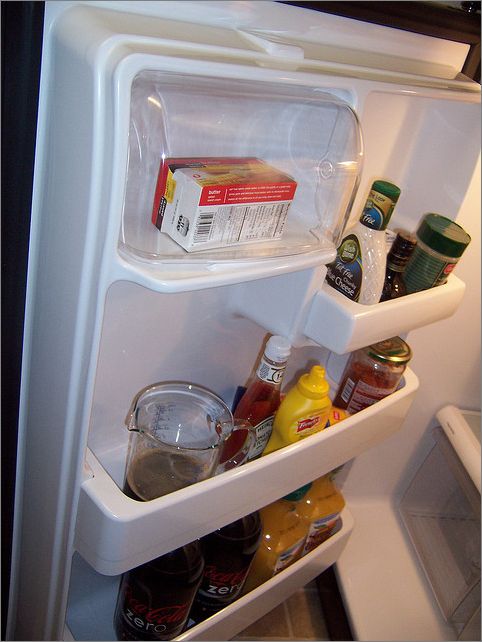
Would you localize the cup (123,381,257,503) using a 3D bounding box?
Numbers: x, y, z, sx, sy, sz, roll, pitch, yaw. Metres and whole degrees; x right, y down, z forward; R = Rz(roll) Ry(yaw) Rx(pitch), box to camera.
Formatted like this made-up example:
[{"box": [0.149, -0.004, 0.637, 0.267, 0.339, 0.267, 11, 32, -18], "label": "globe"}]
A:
[{"box": [-0.084, 0.182, 0.680, 0.172, 0.130, 0.140, 14, 35, -20], "label": "cup"}]

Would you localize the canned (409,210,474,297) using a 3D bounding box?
[{"box": [0.305, -0.109, 0.742, 0.076, 0.130, 0.077, 18, 51, 4], "label": "canned"}]
